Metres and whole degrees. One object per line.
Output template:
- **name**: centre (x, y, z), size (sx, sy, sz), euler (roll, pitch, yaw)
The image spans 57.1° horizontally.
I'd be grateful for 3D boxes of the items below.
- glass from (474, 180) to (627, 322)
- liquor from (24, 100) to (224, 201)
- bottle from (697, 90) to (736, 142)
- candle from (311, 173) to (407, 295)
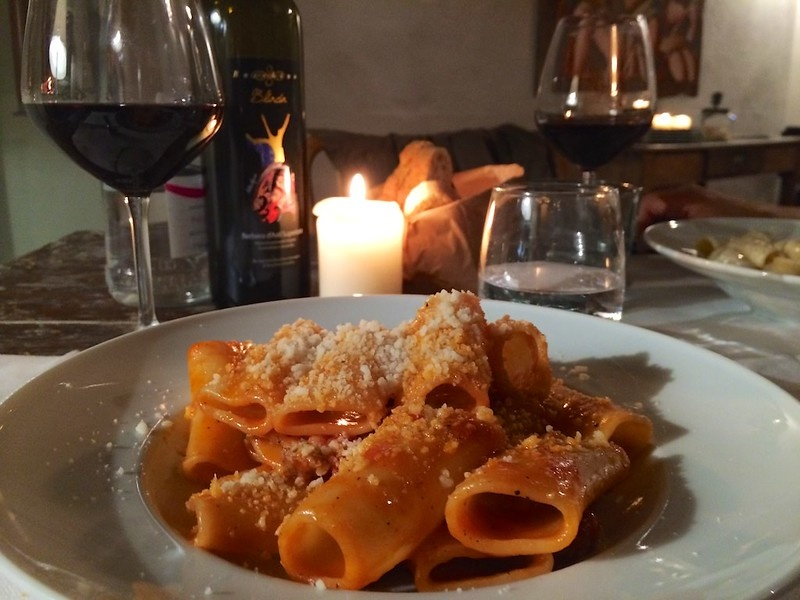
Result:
- **glass**: centre (0.187, -0.063, 0.961), size (0.156, 0.172, 0.160), euler (-3, 9, -21)
- **liquor**: centre (-0.314, -0.175, 0.871), size (0.201, 0.117, 0.222), euler (2, 10, 13)
- **bottle**: centre (1.227, -0.707, 2.805), size (0.108, 0.179, 0.098), euler (-8, 23, 3)
- **candle**: centre (-0.037, -0.097, 1.010), size (0.121, 0.213, 0.129), euler (3, 8, 23)
